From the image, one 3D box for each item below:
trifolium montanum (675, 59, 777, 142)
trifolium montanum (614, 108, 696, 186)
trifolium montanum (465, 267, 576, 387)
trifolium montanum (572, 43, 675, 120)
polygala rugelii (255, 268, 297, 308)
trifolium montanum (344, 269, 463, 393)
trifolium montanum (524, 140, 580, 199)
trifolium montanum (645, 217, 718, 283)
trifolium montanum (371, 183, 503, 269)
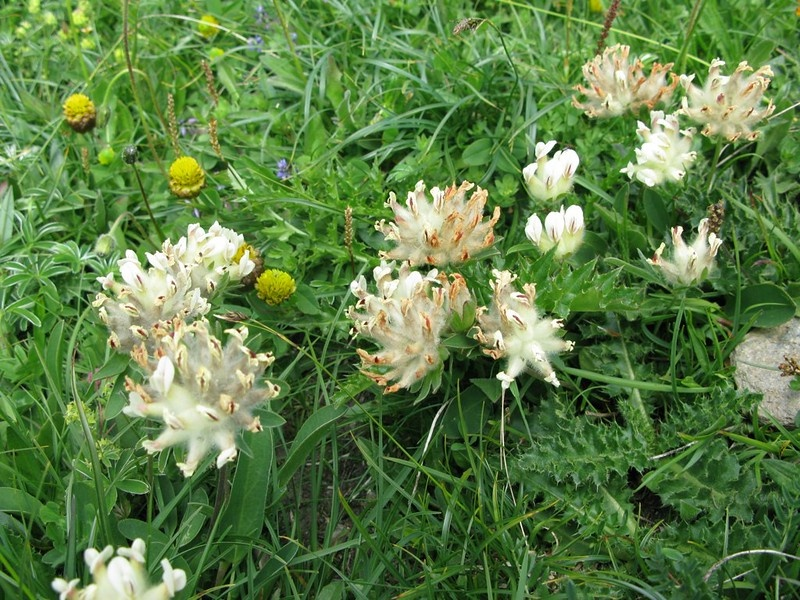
[{"bbox_3d":[1.529,-0.891,3.595,0.405,0.233,0.434,16,83,26],"label":"trifolium montanum"},{"bbox_3d":[1.221,-0.670,3.546,0.185,0.357,0.364,7,64,54],"label":"trifolium montanum"},{"bbox_3d":[0.505,0.104,3.276,0.467,0.237,0.420,-36,91,-29],"label":"trifolium montanum"},{"bbox_3d":[1.119,-1.116,3.792,0.408,0.408,0.252,13,39,9],"label":"trifolium montanum"},{"bbox_3d":[-0.584,-0.075,3.507,0.153,0.177,0.167,-9,35,-12],"label":"polygala rugelii"},{"bbox_3d":[0.072,0.081,3.230,0.380,0.304,0.493,-8,13,42],"label":"trifolium montanum"},{"bbox_3d":[0.689,-0.593,3.466,0.214,0.273,0.212,23,58,19],"label":"trifolium montanum"},{"bbox_3d":[1.227,-0.168,3.366,0.254,0.187,0.321,7,36,0],"label":"trifolium montanum"},{"bbox_3d":[0.176,-0.327,3.293,0.416,0.251,0.385,-15,24,-24],"label":"trifolium montanum"}]
